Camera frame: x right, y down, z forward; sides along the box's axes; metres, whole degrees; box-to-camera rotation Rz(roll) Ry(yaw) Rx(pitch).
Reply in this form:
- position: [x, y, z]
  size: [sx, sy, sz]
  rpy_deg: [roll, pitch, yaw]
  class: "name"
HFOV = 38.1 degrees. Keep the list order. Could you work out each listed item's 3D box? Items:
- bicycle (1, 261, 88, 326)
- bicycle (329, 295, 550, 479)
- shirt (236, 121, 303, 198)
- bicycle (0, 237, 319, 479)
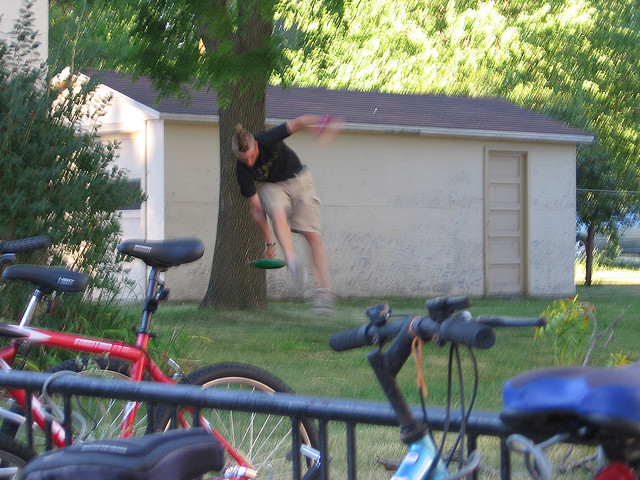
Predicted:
- position: [-2.042, 0.395, 6.804]
  size: [0.456, 0.583, 0.109]
  rpy_deg: [9, 6, 5]
  class: "bicycle"
- position: [0.494, 0.631, 4.244]
  size: [0.832, 1.012, 0.831]
  rpy_deg: [-3, 2, -2]
  class: "bicycle"
- position: [-0.507, -0.818, 9.339]
  size: [0.516, 0.286, 0.718]
  rpy_deg: [-38, 3, 16]
  class: "shirt"
- position: [-0.843, 0.791, 6.066]
  size: [2.093, 1.571, 1.154]
  rpy_deg: [4, -6, -6]
  class: "bicycle"
